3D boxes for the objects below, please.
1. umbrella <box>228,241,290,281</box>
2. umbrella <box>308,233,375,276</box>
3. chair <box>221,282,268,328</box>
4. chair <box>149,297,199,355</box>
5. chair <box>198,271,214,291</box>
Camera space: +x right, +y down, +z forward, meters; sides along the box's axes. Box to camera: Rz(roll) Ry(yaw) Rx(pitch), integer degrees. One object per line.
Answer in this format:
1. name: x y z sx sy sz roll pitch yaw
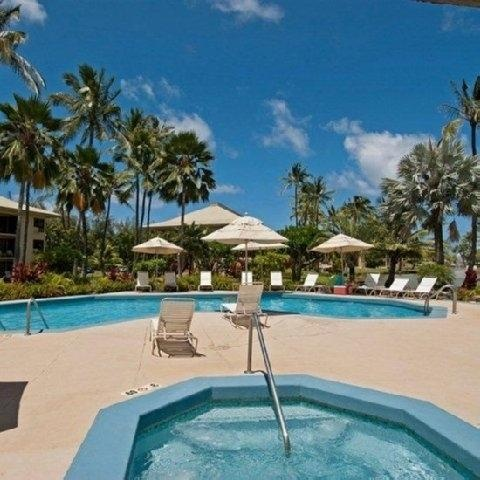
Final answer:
1. umbrella: 1.008 1.198 21.083 1.673 1.983 1.929 -3 -2 32
2. umbrella: 4.688 0.666 17.720 1.663 1.899 2.182 1 -2 -43
3. chair: 0.139 1.486 8.715 0.533 1.001 1.667 1 -2 -10
4. chair: -1.107 1.392 6.380 0.534 0.966 1.630 4 0 -14
5. chair: -1.767 2.149 19.763 0.645 1.222 0.842 0 -4 -2
